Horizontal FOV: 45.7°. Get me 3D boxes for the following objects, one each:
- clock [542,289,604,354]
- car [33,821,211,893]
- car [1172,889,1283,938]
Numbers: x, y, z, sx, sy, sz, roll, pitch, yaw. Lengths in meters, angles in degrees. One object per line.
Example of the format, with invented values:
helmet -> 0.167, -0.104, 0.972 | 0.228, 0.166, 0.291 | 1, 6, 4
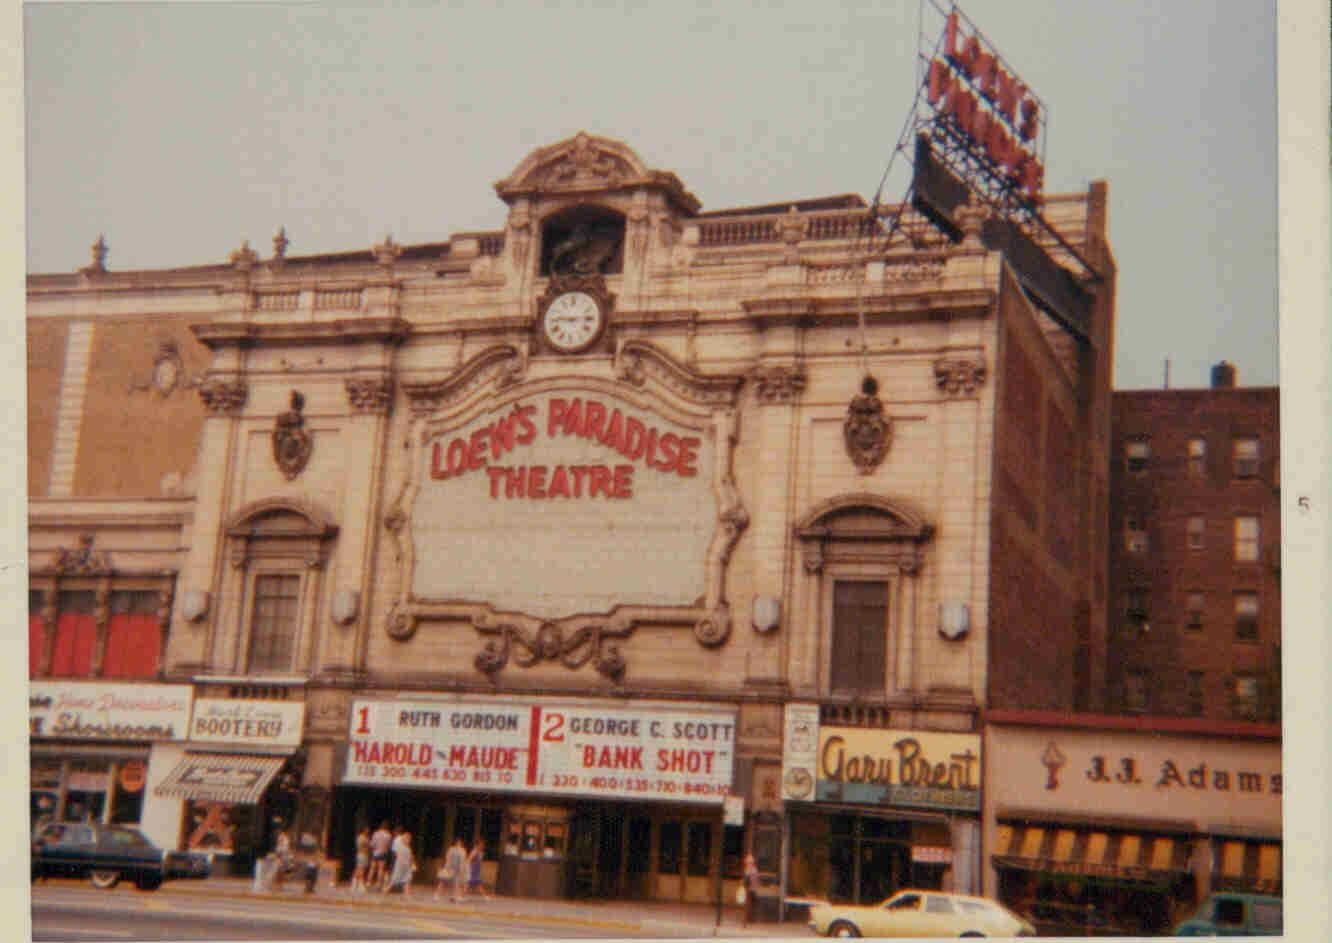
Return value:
clock -> -3.340, -5.560, 58.689 | 2.098, 2.222, 0.282 | -4, -3, 14
car -> -18.106, 12.634, 52.203 | 4.692, 1.632, 2.394 | 1, -6, 1
car -> 17.323, 13.538, 48.251 | 2.276, 1.204, 1.487 | 1, -17, 9
